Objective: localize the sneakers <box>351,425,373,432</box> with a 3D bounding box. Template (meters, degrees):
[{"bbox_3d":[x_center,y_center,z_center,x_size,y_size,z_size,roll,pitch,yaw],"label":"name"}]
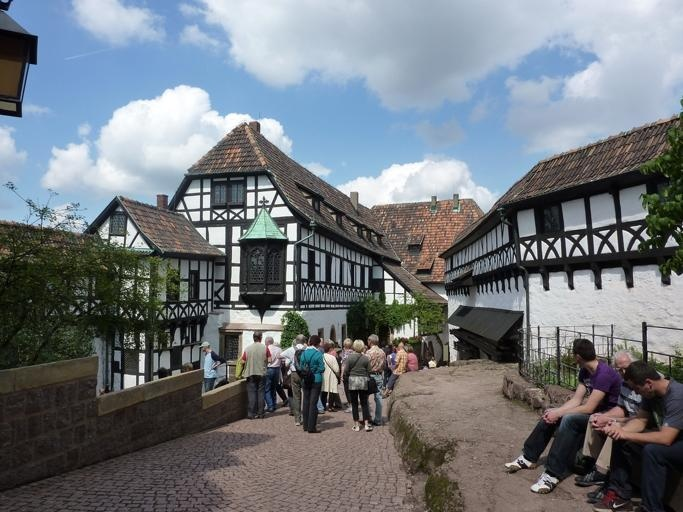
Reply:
[{"bbox_3d":[0.430,3.612,11.463,0.317,0.129,0.198,-6,-17,17],"label":"sneakers"}]

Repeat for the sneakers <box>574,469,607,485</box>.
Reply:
[{"bbox_3d":[3.086,2.730,6.715,0.366,0.185,0.144,-2,-8,10],"label":"sneakers"}]

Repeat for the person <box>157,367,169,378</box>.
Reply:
[{"bbox_3d":[-6.343,4.092,19.224,0.178,0.343,0.809,-2,-8,8],"label":"person"}]

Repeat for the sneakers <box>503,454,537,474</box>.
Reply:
[{"bbox_3d":[2.348,2.750,7.182,0.404,0.217,0.174,1,-6,-6],"label":"sneakers"}]

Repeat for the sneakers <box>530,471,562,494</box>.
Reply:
[{"bbox_3d":[2.543,2.790,6.719,0.433,0.224,0.163,2,-7,-20],"label":"sneakers"}]

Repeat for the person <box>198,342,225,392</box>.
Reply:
[{"bbox_3d":[-3.387,2.973,13.676,0.585,1.600,0.487,2,0,33],"label":"person"}]
